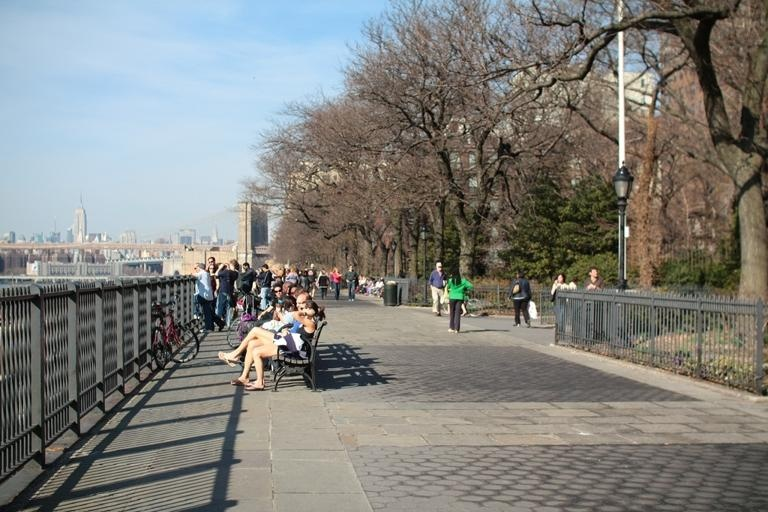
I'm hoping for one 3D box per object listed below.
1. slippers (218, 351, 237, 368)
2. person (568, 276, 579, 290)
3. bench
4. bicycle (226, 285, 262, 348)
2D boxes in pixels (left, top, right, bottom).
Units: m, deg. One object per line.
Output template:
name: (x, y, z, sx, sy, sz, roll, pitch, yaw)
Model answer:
slippers: (-3.140, 2.074, 18.377, 0.210, 0.321, 0.796, -30, 10, -7)
person: (7.749, 1.079, 37.232, 0.275, 0.781, 0.346, -4, 10, 10)
bench: (-1.568, 1.766, 17.592, 1.263, 1.363, 1.132, -1, 9, -21)
bicycle: (-3.676, 1.568, 23.825, 0.834, 1.119, 1.833, 12, -18, -17)
